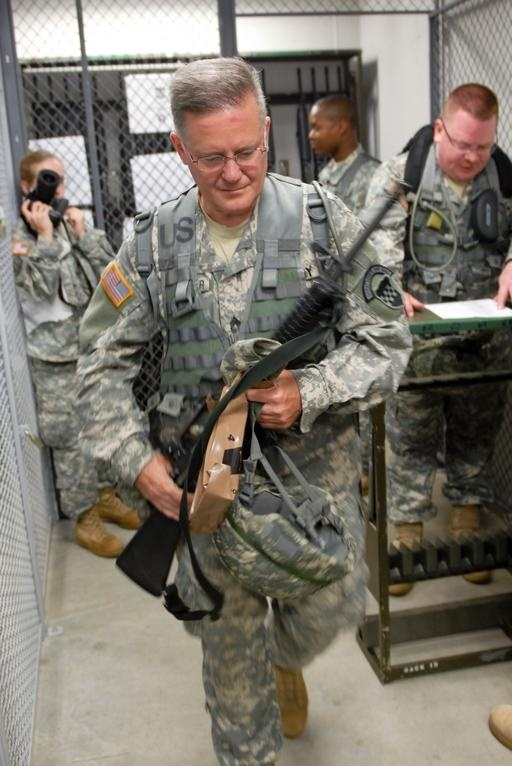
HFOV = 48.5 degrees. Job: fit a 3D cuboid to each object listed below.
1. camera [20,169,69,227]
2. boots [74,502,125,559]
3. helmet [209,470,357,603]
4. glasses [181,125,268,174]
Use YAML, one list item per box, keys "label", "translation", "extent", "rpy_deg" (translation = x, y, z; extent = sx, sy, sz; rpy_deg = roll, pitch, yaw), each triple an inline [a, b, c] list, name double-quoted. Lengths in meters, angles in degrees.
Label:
- label: "camera"
  translation: [-1.106, -0.955, 2.940]
  extent: [0.151, 0.208, 0.275]
  rpy_deg: [21, -20, -11]
- label: "boots"
  translation: [-0.856, 0.804, 3.088]
  extent: [0.304, 0.218, 0.110]
  rpy_deg: [12, 20, 24]
- label: "helmet"
  translation: [0.057, 0.290, 1.086]
  extent: [0.184, 0.265, 0.252]
  rpy_deg: [0, 8, 36]
- label: "glasses"
  translation: [-0.059, -0.424, 1.065]
  extent: [0.162, 0.071, 0.119]
  rpy_deg: [-4, 7, 0]
